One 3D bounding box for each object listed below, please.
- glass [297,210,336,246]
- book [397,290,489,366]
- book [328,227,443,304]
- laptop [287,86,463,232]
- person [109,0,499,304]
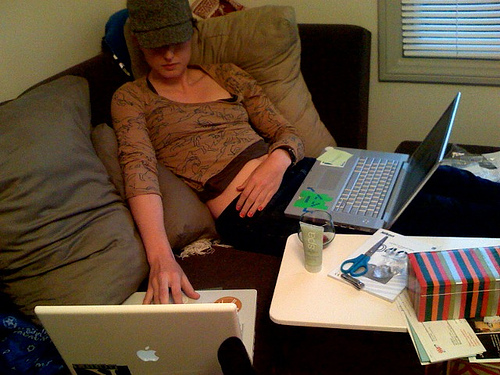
[{"bbox_3d":[0.223,0.107,1.303,0.112,0.084,0.159,9,35,13],"label":"glass"},{"bbox_3d":[0.493,0.372,1.037,0.171,0.030,0.152,-2,34,-4],"label":"book"},{"bbox_3d":[0.396,0.220,1.201,0.208,0.011,0.314,16,35,40],"label":"book"},{"bbox_3d":[0.479,-0.123,1.537,0.572,0.339,0.626,21,43,36],"label":"laptop"},{"bbox_3d":[0.079,-0.128,1.637,1.498,0.886,1.079,7,21,25],"label":"person"}]
